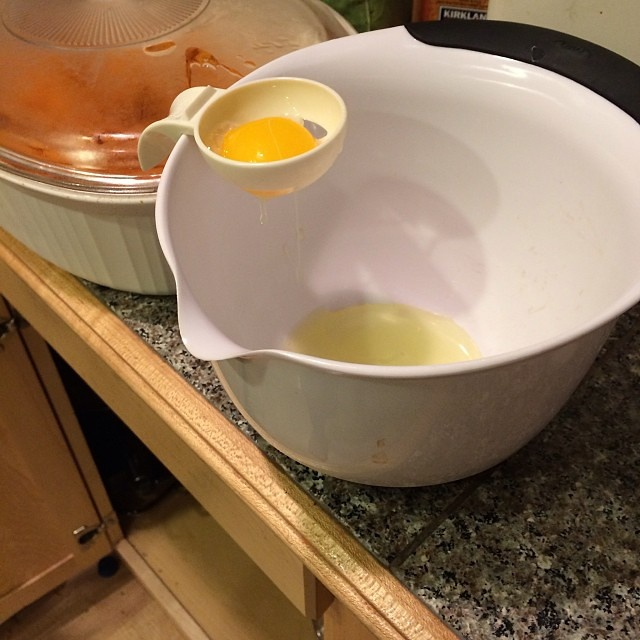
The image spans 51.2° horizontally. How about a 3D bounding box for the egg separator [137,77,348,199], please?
[{"bbox_3d":[-0.052,-0.141,0.522,0.121,0.078,0.152,-27,45,-30],"label":"egg separator"}]
